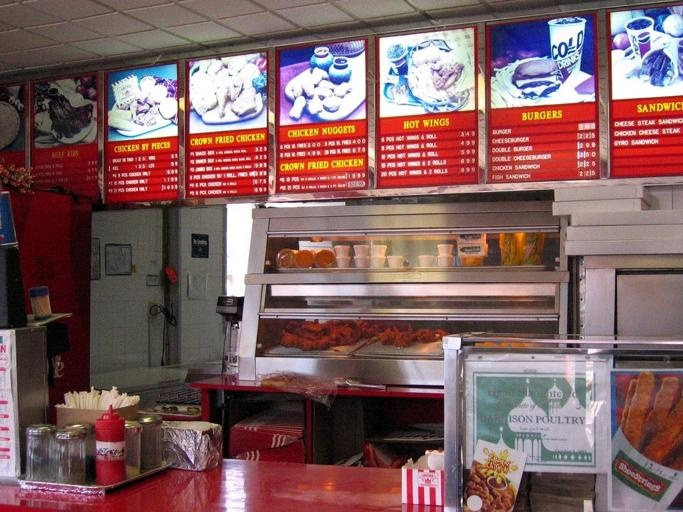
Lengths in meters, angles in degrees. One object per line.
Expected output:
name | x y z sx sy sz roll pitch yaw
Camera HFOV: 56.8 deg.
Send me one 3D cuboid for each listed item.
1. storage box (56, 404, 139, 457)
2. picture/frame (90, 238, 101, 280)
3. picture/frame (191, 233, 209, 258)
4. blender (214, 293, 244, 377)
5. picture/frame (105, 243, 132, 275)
storage box | -0.941 0.635 2.399 0.216 0.167 0.163 2 4 30
picture/frame | -2.028 0.022 5.189 0.013 0.346 0.266 2 -2 -37
picture/frame | -1.160 -0.100 5.166 0.215 0.263 0.029 1 2 8
blender | -0.753 0.534 4.319 0.188 0.540 0.149 2 6 21
picture/frame | -1.864 0.031 5.258 0.233 0.257 0.012 3 6 9
